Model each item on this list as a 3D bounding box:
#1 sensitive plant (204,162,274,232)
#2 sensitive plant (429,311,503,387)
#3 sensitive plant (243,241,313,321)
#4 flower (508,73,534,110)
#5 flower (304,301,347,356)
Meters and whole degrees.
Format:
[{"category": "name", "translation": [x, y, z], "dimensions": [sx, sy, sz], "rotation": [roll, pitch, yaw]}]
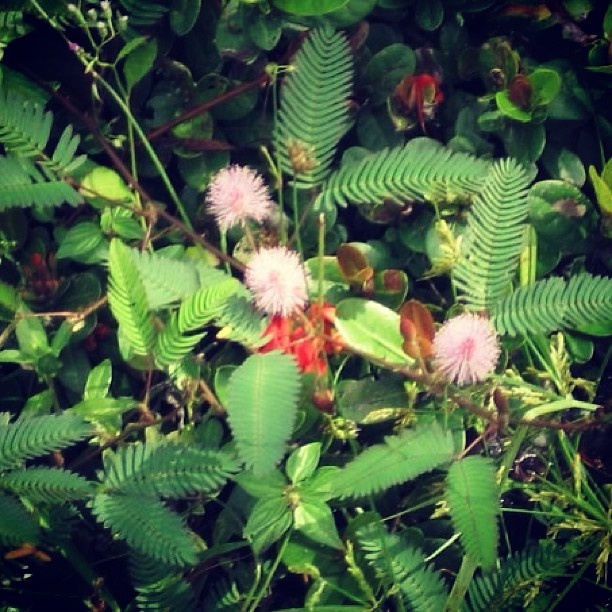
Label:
[{"category": "sensitive plant", "translation": [-0.103, -0.171, 1.355], "dimensions": [0.096, 0.064, 0.094], "rotation": [-12, 49, 0]}, {"category": "sensitive plant", "translation": [0.243, 0.065, 1.274], "dimensions": [0.079, 0.117, 0.059], "rotation": [-6, 4, -2]}, {"category": "sensitive plant", "translation": [-0.040, -0.043, 1.264], "dimensions": [0.079, 0.108, 0.044], "rotation": [-11, -8, -21]}, {"category": "flower", "translation": [0.342, -0.337, 1.358], "dimensions": [0.042, 0.039, 0.031], "rotation": [11, 49, 19]}, {"category": "flower", "translation": [0.031, 0.031, 1.316], "dimensions": [0.026, 0.081, 0.050], "rotation": [-24, 4, -42]}]
